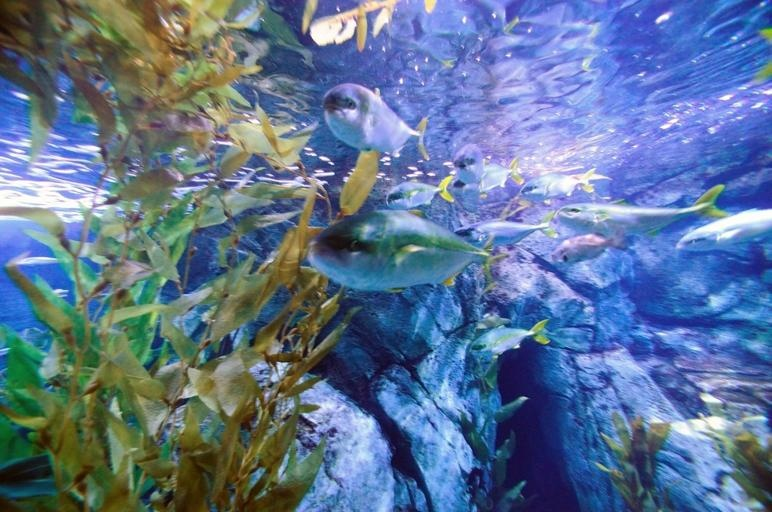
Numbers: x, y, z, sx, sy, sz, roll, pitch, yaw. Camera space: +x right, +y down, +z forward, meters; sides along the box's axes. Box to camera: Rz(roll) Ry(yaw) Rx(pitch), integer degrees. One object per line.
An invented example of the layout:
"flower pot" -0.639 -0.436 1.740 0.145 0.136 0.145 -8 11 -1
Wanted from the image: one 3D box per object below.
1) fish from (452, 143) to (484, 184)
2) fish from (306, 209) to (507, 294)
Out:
"fish" 1.312 -1.391 7.076 0.643 0.502 0.526 -13 -75 -26
"fish" 0.282 -0.011 4.953 2.404 0.615 0.761 6 -89 -35
